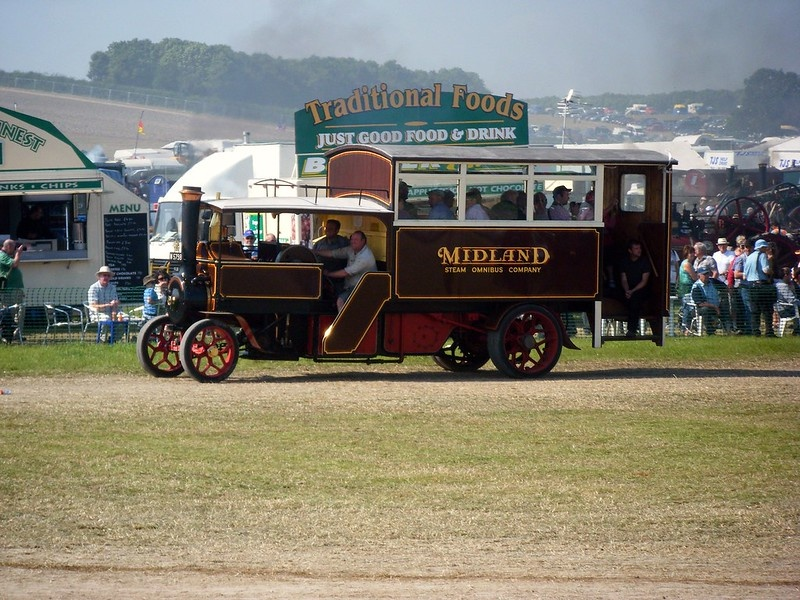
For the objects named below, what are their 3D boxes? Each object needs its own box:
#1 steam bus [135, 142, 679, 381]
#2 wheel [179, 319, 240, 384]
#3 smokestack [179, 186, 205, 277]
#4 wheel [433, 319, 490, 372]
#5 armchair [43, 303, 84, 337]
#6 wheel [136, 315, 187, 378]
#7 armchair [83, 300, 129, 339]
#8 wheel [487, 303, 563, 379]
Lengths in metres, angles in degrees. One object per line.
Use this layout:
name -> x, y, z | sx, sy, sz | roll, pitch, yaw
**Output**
steam bus -> 0.471, -0.585, 27.698 | 7.764, 3.343, 2.621 | 0, 0, -7
wheel -> -2.952, 0.753, 25.919 | 0.782, 0.803, 0.195 | -26, 22, -36
smokestack -> -3.276, -1.024, 25.990 | 0.481, 1.462, 0.485 | 0, 5, -32
wheel -> 0.956, 0.857, 28.007 | 0.791, 0.744, 0.342 | -20, -9, -30
armchair -> -5.830, 0.336, 29.299 | 0.618, 0.507, 0.516 | 0, 4, 6
wheel -> -3.709, 0.731, 26.320 | 0.328, 0.901, 0.942 | 3, 8, 43
armchair -> -5.087, 0.386, 29.380 | 0.603, 0.747, 0.621 | 0, 2, 14
wheel -> 1.964, 0.651, 27.055 | 1.377, 1.298, 0.548 | -5, 6, -36
